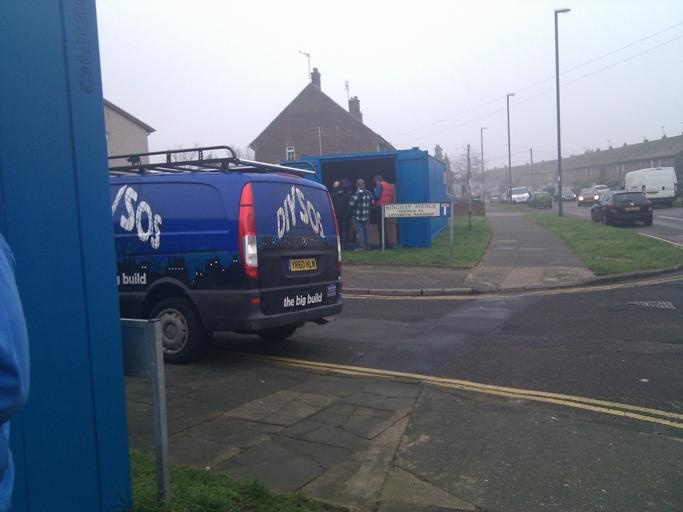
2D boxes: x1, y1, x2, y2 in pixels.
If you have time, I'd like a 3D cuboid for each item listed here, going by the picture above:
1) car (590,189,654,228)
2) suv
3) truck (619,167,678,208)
[{"bbox_3d":[12.202,-2.073,24.869,1.913,1.519,2.175,-4,5,21],"label":"car"},{"bbox_3d":[-1.509,0.049,7.227,2.674,2.347,1.379,-5,4,9],"label":"suv"},{"bbox_3d":[18.989,-4.281,35.287,2.332,2.816,4.985,-1,8,7],"label":"truck"}]
